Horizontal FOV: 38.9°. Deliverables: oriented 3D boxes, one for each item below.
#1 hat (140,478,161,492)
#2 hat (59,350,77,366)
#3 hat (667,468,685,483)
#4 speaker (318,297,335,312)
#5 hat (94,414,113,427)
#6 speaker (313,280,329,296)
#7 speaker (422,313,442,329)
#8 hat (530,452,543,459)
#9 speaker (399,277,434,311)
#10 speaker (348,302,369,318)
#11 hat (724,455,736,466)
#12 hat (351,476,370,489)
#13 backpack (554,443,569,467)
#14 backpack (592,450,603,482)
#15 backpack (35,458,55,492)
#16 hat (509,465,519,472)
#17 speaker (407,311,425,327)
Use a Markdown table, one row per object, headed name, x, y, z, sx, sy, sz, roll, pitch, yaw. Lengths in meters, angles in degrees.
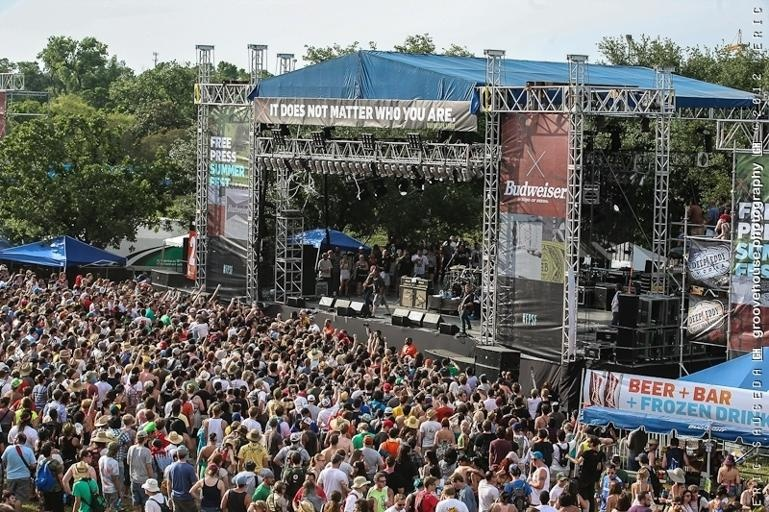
| name | x | y | z | sx | sy | sz | roll | pitch | yaw |
| --- | --- | --- | --- | --- | --- | --- | --- | --- | --- |
| hat | -4.573 | 4.403 | 21.196 | 0.355 | 0.141 | 0.290 | 9 | 7 | 44 |
| hat | -7.552 | 2.399 | 26.083 | 0.325 | 0.328 | 0.329 | 2 | -8 | 3 |
| hat | 6.128 | 4.552 | 22.866 | 0.316 | 0.284 | 0.854 | 1 | 0 | 13 |
| speaker | -1.959 | 1.569 | 36.737 | 0.498 | 0.383 | 0.709 | 13 | 0 | -4 |
| hat | -6.006 | 3.478 | 23.229 | 0.310 | 0.250 | 0.351 | 1 | 0 | -15 |
| speaker | -2.305 | 1.150 | 39.815 | 0.514 | 0.915 | 0.528 | 0 | 1 | 3 |
| speaker | 1.520 | 1.992 | 34.068 | 0.571 | 0.427 | 0.419 | 5 | 16 | 33 |
| hat | 3.086 | 4.040 | 22.109 | 0.240 | 0.125 | 0.171 | 19 | 8 | 2 |
| speaker | 1.070 | 1.254 | 36.499 | 0.996 | 0.958 | 0.427 | 6 | 7 | 43 |
| speaker | -0.863 | 1.757 | 36.077 | 0.505 | 0.469 | 0.514 | 1 | -3 | 26 |
| hat | 7.499 | 4.386 | 23.637 | 0.240 | 0.193 | 0.223 | 1 | 0 | 4 |
| hat | -0.420 | 4.310 | 21.006 | 0.229 | 0.099 | 0.300 | 3 | 18 | 43 |
| backpack | 3.808 | 4.272 | 23.546 | 0.421 | 0.567 | 0.314 | 5 | -11 | -20 |
| backpack | 4.589 | 4.445 | 23.284 | 0.376 | 0.510 | 0.195 | -5 | 9 | -25 |
| backpack | -6.833 | 4.380 | 21.952 | 0.410 | 0.672 | 0.134 | 1 | 0 | 14 |
| hat | 2.555 | 4.180 | 21.606 | 0.172 | 0.177 | 0.135 | 25 | -19 | -40 |
| speaker | 0.998 | 1.960 | 34.395 | 0.455 | 0.442 | 0.451 | 5 | 3 | 15 |
